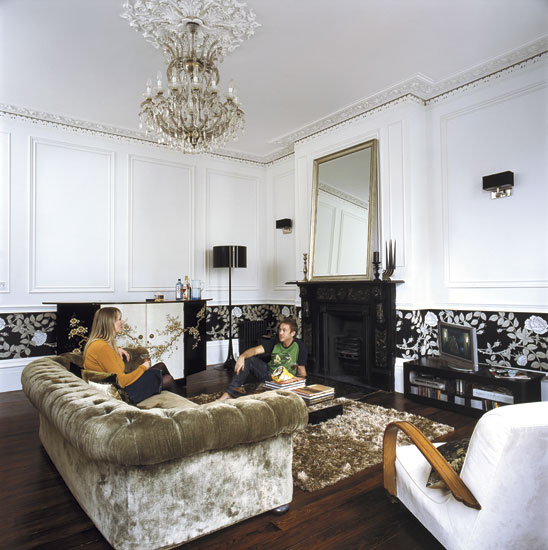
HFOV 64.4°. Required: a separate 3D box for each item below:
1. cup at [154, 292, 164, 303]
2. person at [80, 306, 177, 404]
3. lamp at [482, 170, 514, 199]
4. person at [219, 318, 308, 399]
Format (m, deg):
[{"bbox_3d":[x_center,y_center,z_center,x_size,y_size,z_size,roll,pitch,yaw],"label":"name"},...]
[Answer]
[{"bbox_3d":[-1.383,0.284,5.195,0.123,0.078,0.209,-1,2,-25],"label":"cup"},{"bbox_3d":[-1.104,0.684,3.481,0.798,0.885,0.377,-3,-9,-44],"label":"person"},{"bbox_3d":[2.251,-0.898,4.343,0.099,0.274,0.285,-1,2,-33],"label":"lamp"},{"bbox_3d":[-0.105,0.824,4.208,0.798,0.913,0.608,9,5,1],"label":"person"}]
